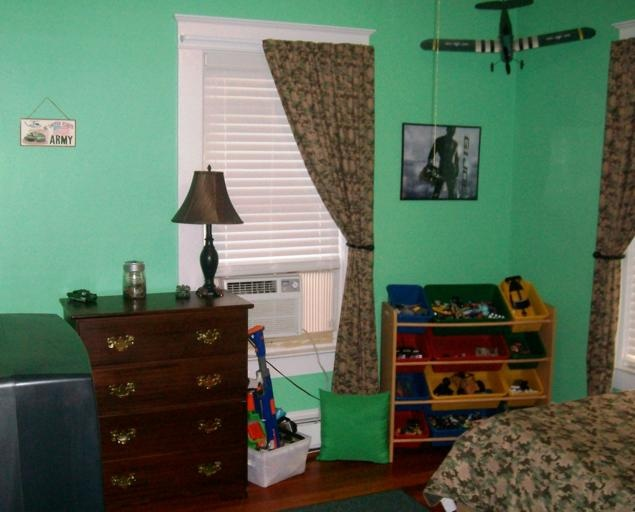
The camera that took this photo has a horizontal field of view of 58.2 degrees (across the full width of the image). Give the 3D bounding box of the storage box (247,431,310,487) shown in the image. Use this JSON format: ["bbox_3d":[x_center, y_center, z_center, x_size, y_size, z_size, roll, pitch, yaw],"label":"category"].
[{"bbox_3d":[-0.249,1.274,3.574,0.335,0.200,0.234,-2,1,-38],"label":"storage box"}]

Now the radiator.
[{"bbox_3d":[-0.399,0.321,3.719,0.441,0.384,0.169,-2,5,-21],"label":"radiator"}]

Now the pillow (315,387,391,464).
[{"bbox_3d":[0.244,1.138,3.792,0.465,0.447,0.171,2,-1,-2],"label":"pillow"}]

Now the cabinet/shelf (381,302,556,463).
[{"bbox_3d":[0.974,0.824,3.740,1.018,0.891,0.356,-1,3,-11],"label":"cabinet/shelf"}]

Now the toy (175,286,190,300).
[{"bbox_3d":[-0.806,0.217,3.375,0.077,0.055,0.079,1,2,40],"label":"toy"}]

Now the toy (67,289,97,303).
[{"bbox_3d":[-1.334,0.232,3.266,0.194,0.083,0.071,1,9,18],"label":"toy"}]

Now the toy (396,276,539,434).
[{"bbox_3d":[1.029,0.723,3.927,1.010,1.001,0.373,-1,7,-10],"label":"toy"}]

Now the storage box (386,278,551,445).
[{"bbox_3d":[1.011,0.754,3.863,1.130,1.093,0.408,-1,3,-10],"label":"storage box"}]

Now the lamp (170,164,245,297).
[{"bbox_3d":[-0.666,-0.140,3.453,0.447,0.767,0.446,-1,6,-18],"label":"lamp"}]
